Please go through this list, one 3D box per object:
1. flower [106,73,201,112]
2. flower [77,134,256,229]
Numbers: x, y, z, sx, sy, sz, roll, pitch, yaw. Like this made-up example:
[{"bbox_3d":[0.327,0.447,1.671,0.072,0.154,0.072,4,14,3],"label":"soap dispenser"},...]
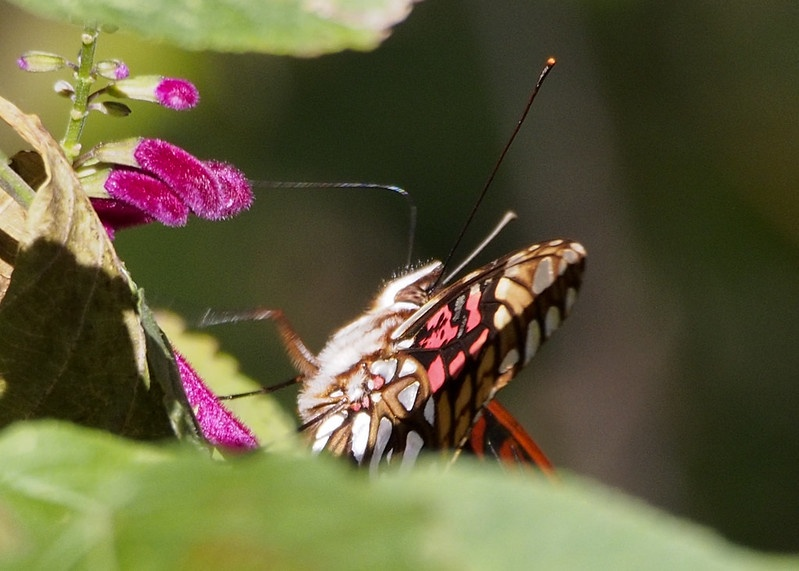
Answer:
[{"bbox_3d":[-0.215,-0.175,0.818,0.097,0.029,0.031,3,34,6],"label":"flower"},{"bbox_3d":[-0.217,-0.077,0.812,0.110,0.042,0.078,11,21,-20],"label":"flower"}]
